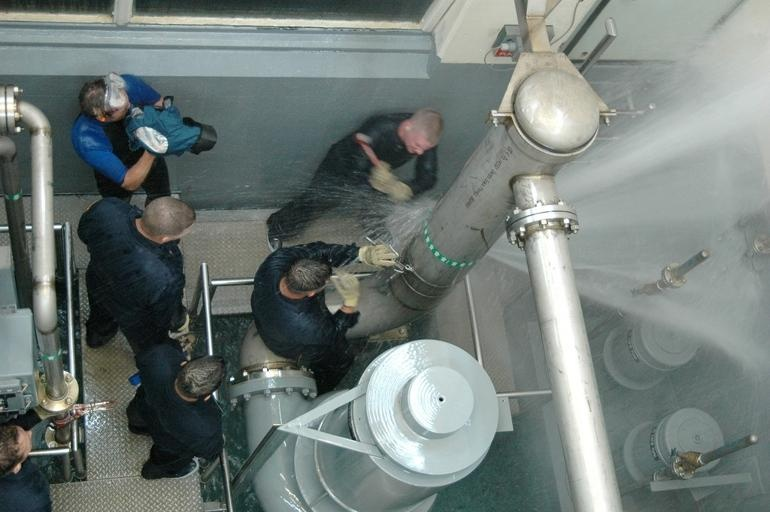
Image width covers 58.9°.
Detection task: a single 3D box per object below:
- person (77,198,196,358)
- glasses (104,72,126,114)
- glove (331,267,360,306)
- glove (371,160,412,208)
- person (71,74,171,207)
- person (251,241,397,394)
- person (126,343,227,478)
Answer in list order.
[{"bbox_3d":[-1.897,0.189,5.102,0.586,1.199,0.466,50,59,-6],"label":"person"},{"bbox_3d":[-1.986,-1.213,5.004,0.159,0.145,0.250,-6,61,-21],"label":"glasses"},{"bbox_3d":[-0.341,0.263,5.822,0.216,0.080,0.290,-17,93,9],"label":"glove"},{"bbox_3d":[0.052,-0.702,6.686,0.430,0.259,0.102,30,18,-12],"label":"glove"},{"bbox_3d":[-2.047,-0.936,5.309,0.507,0.994,0.421,14,85,-4],"label":"person"},{"bbox_3d":[-0.632,0.403,5.657,0.969,1.430,0.992,11,56,-10],"label":"person"},{"bbox_3d":[-1.518,1.122,4.855,0.312,1.084,0.431,-33,93,-28],"label":"person"}]
